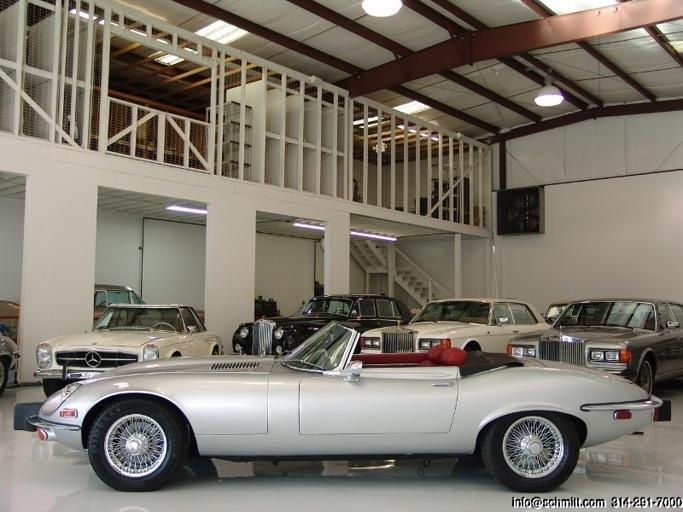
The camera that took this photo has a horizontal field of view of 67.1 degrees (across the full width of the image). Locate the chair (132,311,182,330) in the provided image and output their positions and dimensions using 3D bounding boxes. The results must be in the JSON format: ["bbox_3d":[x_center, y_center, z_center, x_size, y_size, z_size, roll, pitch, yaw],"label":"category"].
[{"bbox_3d":[-2.675,0.937,7.554,0.551,0.309,0.179,3,-8,-3],"label":"chair"}]

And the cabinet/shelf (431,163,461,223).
[{"bbox_3d":[3.565,-1.975,17.560,0.697,1.594,1.647,10,11,40],"label":"cabinet/shelf"}]

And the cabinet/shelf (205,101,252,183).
[{"bbox_3d":[-2.466,-2.739,12.164,0.687,1.827,0.815,1,9,-10],"label":"cabinet/shelf"}]

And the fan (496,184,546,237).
[{"bbox_3d":[6.435,-1.510,17.916,0.688,1.618,1.962,-5,4,-34],"label":"fan"}]
